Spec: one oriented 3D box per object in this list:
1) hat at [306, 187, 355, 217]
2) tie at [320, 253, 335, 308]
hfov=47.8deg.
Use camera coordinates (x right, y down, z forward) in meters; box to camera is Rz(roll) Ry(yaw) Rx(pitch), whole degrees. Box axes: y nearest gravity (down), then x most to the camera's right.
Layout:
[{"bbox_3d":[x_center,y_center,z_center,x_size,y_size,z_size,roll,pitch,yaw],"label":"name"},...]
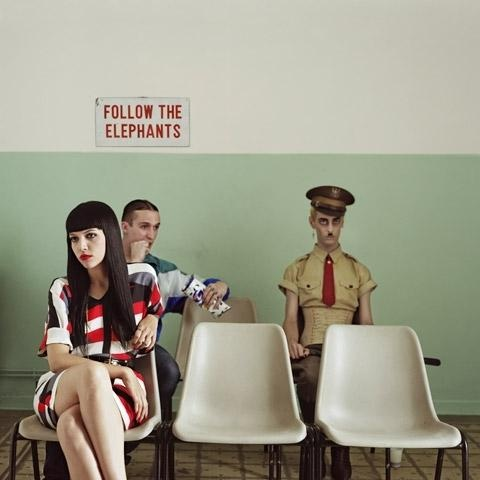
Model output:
[{"bbox_3d":[0.565,-0.227,3.423,0.292,0.175,0.337,8,-2,6],"label":"hat"},{"bbox_3d":[0.501,0.243,3.061,0.070,0.355,0.014,0,35,9],"label":"tie"}]
